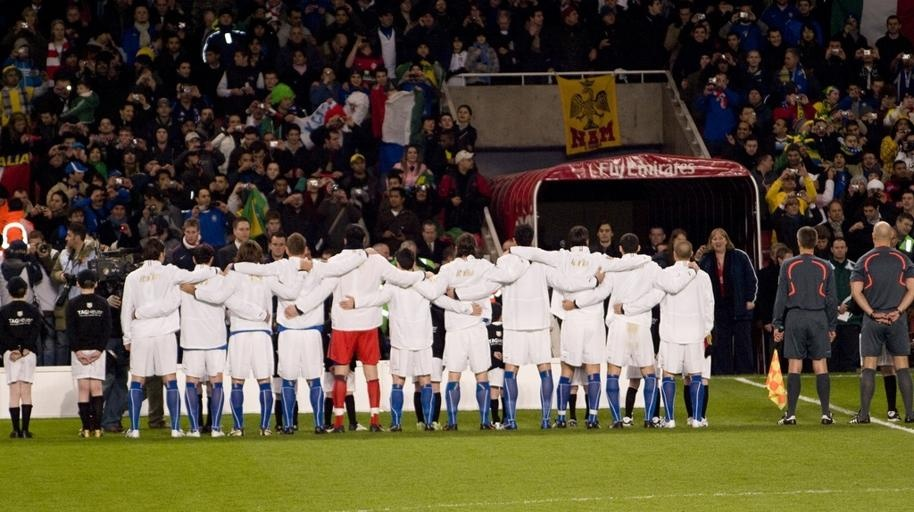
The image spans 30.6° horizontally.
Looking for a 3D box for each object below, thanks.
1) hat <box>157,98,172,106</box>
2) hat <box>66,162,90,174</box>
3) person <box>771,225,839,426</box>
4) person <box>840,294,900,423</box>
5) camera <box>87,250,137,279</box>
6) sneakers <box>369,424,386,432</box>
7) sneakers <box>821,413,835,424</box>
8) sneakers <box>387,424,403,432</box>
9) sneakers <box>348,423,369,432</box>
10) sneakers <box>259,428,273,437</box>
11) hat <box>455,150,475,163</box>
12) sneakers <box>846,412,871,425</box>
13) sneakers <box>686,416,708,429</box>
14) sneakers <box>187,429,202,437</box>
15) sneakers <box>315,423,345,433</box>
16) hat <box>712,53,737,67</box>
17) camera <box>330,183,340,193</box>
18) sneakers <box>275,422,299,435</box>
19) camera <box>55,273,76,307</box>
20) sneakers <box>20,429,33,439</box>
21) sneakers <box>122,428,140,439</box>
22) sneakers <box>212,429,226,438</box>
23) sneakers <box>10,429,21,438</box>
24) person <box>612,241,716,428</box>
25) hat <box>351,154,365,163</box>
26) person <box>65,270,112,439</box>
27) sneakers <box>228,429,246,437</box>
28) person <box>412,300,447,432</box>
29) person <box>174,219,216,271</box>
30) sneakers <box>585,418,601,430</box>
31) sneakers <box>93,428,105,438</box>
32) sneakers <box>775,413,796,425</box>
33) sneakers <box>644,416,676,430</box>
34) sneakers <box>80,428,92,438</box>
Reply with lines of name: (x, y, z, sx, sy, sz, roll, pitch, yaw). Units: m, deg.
hat: (-6.781, -3.605, 38.641, 0.205, 0.157, 0.265, -1, -8, -5)
hat: (-8.587, -2.002, 37.578, 0.398, 0.146, 0.255, 4, 17, 3)
person: (6.691, 1.312, 31.895, 1.197, 3.843, 0.596, -2, -8, 10)
person: (8.332, 1.996, 32.688, 1.314, 2.221, 0.651, 0, -3, 4)
camera: (-6.753, 0.184, 32.445, 0.569, 0.374, 0.757, -2, 0, -39)
sneakers: (-1.459, 3.295, 31.802, 0.385, 0.162, 0.128, -3, 7, -45)
sneakers: (7.120, 3.144, 31.908, 0.240, 0.197, 0.433, -3, -8, 11)
sneakers: (-1.150, 3.301, 31.699, 0.222, 0.150, 0.115, 3, 0, 4)
sneakers: (-1.875, 3.327, 32.104, 0.379, 0.161, 0.134, -2, 4, -24)
sneakers: (-3.560, 3.345, 31.501, 0.100, 0.137, 0.307, 6, 5, 30)
hat: (0.163, -2.249, 37.768, 0.239, 0.133, 0.354, -25, 7, -41)
sneakers: (7.682, 3.125, 31.753, 0.431, 0.174, 0.188, 1, 0, 15)
sneakers: (4.642, 3.206, 31.888, 0.161, 0.186, 0.417, 4, 6, 32)
sneakers: (-4.986, 3.378, 31.530, 0.324, 0.142, 0.113, 3, 3, 36)
sneakers: (-2.399, 3.305, 31.698, 0.535, 0.229, 0.197, 6, -5, -6)
hat: (6.513, -4.775, 40.266, 0.602, 0.340, 0.256, -1, -8, -1)
camera: (-2.663, -1.500, 36.543, 0.175, 0.235, 0.327, 2, -8, -23)
sneakers: (-3.213, 3.280, 31.603, 0.436, 0.161, 0.186, 2, 2, -3)
camera: (-7.724, 0.665, 33.007, 0.190, 0.476, 0.473, 31, 23, -3)
sneakers: (-8.227, 3.425, 31.853, 0.117, 0.153, 0.356, 2, -9, -6)
sneakers: (-6.164, 3.387, 31.621, 0.383, 0.153, 0.133, 6, 1, 41)
sneakers: (-4.490, 3.401, 31.426, 0.136, 0.161, 0.193, -6, -40, 7)
sneakers: (-8.420, 3.415, 31.822, 0.129, 0.186, 0.179, 17, 23, 41)
person: (4.245, 1.480, 31.799, 1.340, 3.584, 0.722, -2, -8, 7)
hat: (-2.173, -2.193, 37.185, 0.279, 0.219, 0.221, -15, 13, -11)
person: (-7.020, 1.882, 31.804, 0.856, 3.177, 0.752, 1, -8, -13)
sneakers: (-4.130, 3.354, 31.387, 0.315, 0.138, 0.106, 3, 2, 14)
person: (-0.483, 2.149, 32.351, 1.095, 1.984, 0.488, -2, 6, -1)
person: (-5.240, -0.201, 33.610, 0.997, 0.648, 1.571, -1, -33, -11)
sneakers: (2.636, 3.230, 31.818, 0.202, 0.152, 0.171, 0, 1, -17)
sneakers: (-6.841, 3.399, 31.815, 0.125, 0.088, 0.321, -1, 8, -4)
sneakers: (6.325, 3.152, 31.958, 0.164, 0.193, 0.444, -2, 1, -18)
sneakers: (3.911, 3.204, 31.809, 0.597, 0.259, 0.223, -2, 5, 10)
sneakers: (-7.077, 3.396, 31.838, 0.163, 0.141, 0.191, -6, -5, 19)
